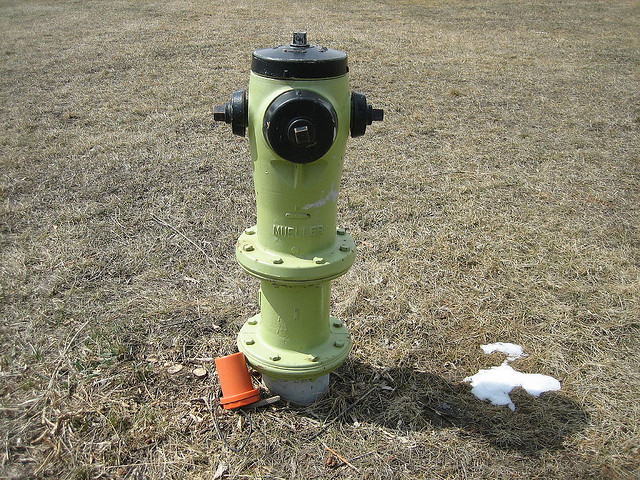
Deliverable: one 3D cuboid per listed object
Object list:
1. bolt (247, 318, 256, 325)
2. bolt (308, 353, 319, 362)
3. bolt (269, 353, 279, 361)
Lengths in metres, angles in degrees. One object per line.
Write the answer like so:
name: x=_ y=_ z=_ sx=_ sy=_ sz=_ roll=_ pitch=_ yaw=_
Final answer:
bolt: x=-0.533 y=0.638 z=4.644 sx=0.062 sy=0.043 sz=0.037 roll=-13 pitch=-17 yaw=36
bolt: x=-0.045 y=0.859 z=4.325 sx=0.048 sy=0.013 sz=0.050 roll=-15 pitch=32 yaw=-30
bolt: x=-0.330 y=0.855 z=4.319 sx=0.046 sy=0.011 sz=0.042 roll=-2 pitch=26 yaw=5
